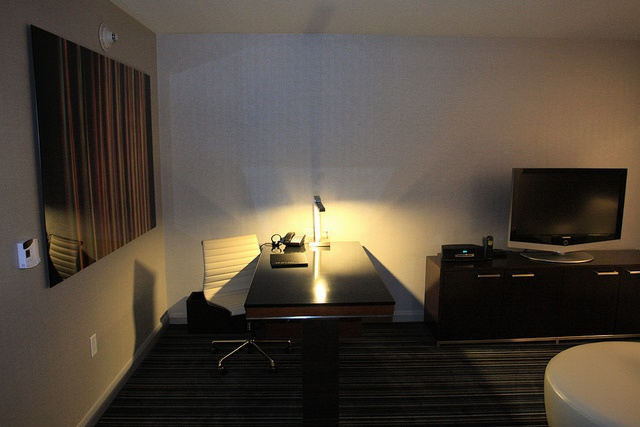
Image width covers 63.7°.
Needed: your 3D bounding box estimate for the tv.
[{"bbox_3d":[2.520,-0.005,5.301,1.054,0.802,0.382,-1,12,-1],"label":"tv"}]
